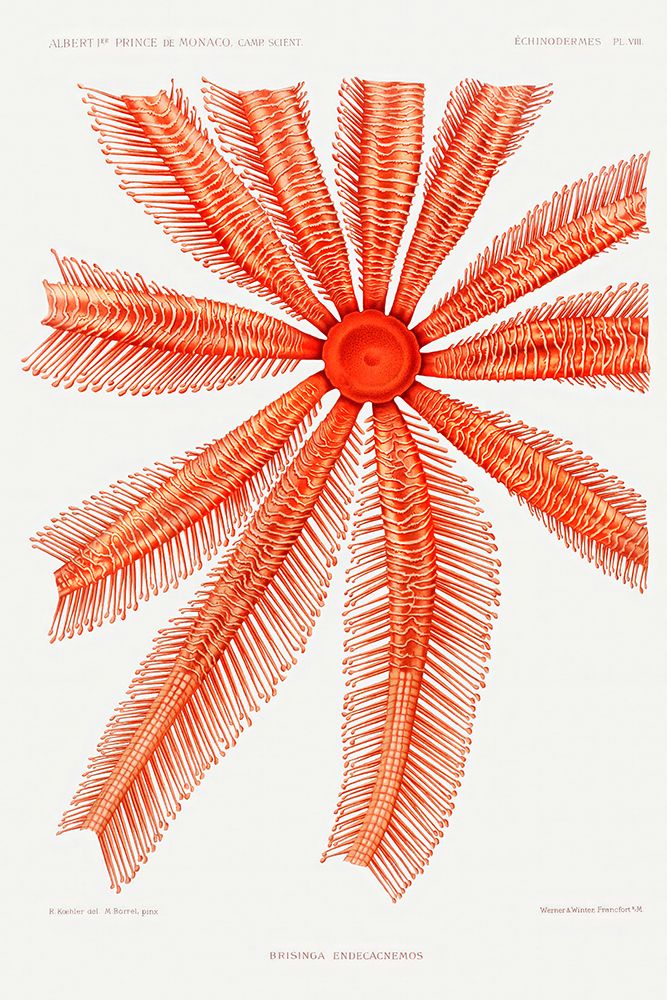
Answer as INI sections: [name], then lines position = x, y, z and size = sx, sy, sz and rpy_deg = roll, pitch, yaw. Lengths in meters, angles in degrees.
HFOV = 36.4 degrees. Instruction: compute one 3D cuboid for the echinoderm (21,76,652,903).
[echinoderm]
position = -0.019, -0.063, 1.550
size = 0.962, 0.109, 1.091
rpy_deg = 36, -94, 0
